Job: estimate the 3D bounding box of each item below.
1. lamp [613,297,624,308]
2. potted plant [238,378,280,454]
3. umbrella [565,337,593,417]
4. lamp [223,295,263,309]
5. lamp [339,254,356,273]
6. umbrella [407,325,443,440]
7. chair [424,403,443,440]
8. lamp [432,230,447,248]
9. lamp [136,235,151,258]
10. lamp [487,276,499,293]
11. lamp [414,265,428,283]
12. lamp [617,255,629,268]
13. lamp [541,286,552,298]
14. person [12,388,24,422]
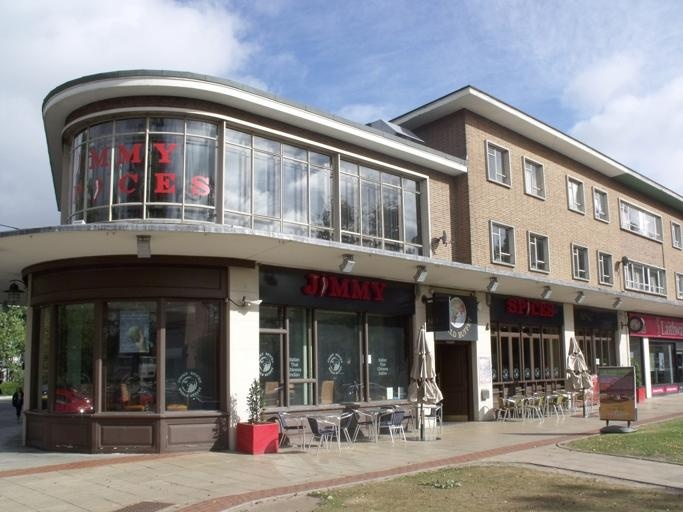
[{"bbox_3d":[12.885,2.125,29.113,0.307,0.260,0.597,-16,-6,7],"label":"lamp"},{"bbox_3d":[-2.159,4.141,16.182,1.057,1.866,0.816,2,-14,-14],"label":"potted plant"},{"bbox_3d":[9.023,4.522,23.753,0.959,2.926,0.959,-9,-13,16],"label":"umbrella"},{"bbox_3d":[-2.640,1.235,16.859,1.002,0.329,0.139,7,-16,-33],"label":"lamp"},{"bbox_3d":[0.234,0.199,17.693,0.314,0.570,0.552,0,5,-31],"label":"lamp"},{"bbox_3d":[2.575,3.868,19.372,0.967,3.394,2.604,-4,-14,8],"label":"umbrella"},{"bbox_3d":[2.835,5.187,20.034,0.688,0.886,0.699,8,-11,-17],"label":"chair"},{"bbox_3d":[3.526,-0.532,22.393,0.504,0.926,0.924,2,-11,8],"label":"lamp"},{"bbox_3d":[-4.822,-0.269,15.250,0.488,0.767,0.198,1,6,-12],"label":"lamp"},{"bbox_3d":[5.295,0.951,21.815,0.364,0.353,0.782,-5,-14,11],"label":"lamp"},{"bbox_3d":[2.498,0.522,19.714,0.382,0.385,0.708,7,-26,-14],"label":"lamp"},{"bbox_3d":[14.507,0.244,31.956,0.550,0.590,0.490,20,-24,-39],"label":"lamp"},{"bbox_3d":[8.022,1.383,24.488,0.297,0.554,0.304,34,13,29],"label":"lamp"},{"bbox_3d":[-13.364,6.070,25.864,0.325,1.361,1.905,5,-16,-27],"label":"person"}]
